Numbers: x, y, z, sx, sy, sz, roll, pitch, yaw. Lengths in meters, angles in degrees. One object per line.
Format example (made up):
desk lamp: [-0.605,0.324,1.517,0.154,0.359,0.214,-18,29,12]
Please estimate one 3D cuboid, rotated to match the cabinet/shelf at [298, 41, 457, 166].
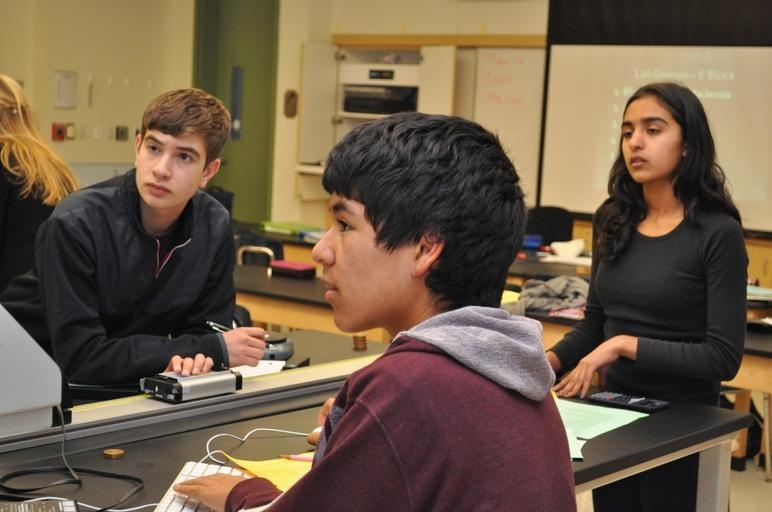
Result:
cabinet/shelf: [0.004,-1.806,6.981,1.725,1.664,1.324,6,10,23]
